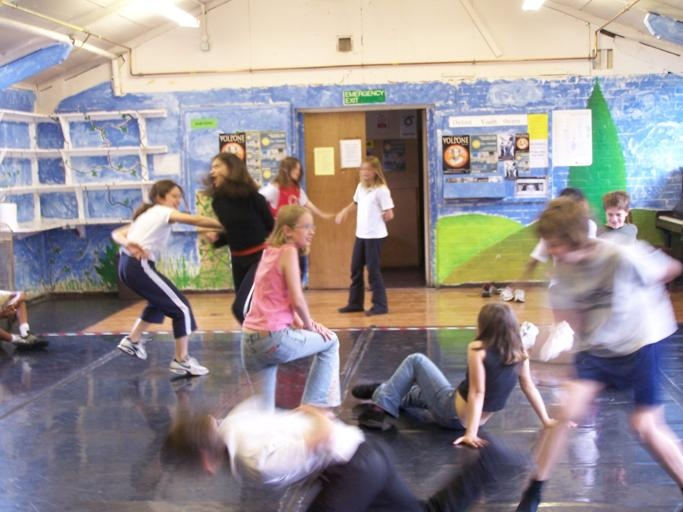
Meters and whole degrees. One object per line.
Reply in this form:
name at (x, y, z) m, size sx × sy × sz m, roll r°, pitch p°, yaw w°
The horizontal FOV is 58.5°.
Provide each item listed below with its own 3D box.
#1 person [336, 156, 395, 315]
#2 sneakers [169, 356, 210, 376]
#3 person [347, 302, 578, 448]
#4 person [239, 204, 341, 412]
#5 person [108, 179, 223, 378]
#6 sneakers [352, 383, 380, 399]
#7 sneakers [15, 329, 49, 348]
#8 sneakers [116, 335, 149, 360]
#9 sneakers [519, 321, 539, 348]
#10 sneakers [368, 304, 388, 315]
person at (0.319, -0.225, 7.068) m, size 0.552 × 1.814 × 0.302 m, roll 5°, pitch 9°, yaw 40°
sneakers at (-1.310, 0.975, 5.392) m, size 0.360 × 0.163 × 0.137 m, roll 3°, pitch 1°, yaw -8°
person at (0.697, 0.793, 4.278) m, size 1.478 × 0.848 × 0.873 m, roll -2°, pitch -7°, yaw 40°
person at (-0.354, 0.393, 3.982) m, size 0.518 × 1.435 × 0.724 m, roll 4°, pitch 9°, yaw 36°
person at (-1.515, 0.202, 5.210) m, size 0.658 × 1.706 × 1.191 m, roll -6°, pitch 9°, yaw -35°
sneakers at (0.179, 1.016, 4.586) m, size 0.129 × 0.072 × 0.164 m, roll -3°, pitch -14°, yaw -18°
sneakers at (-3.029, 0.846, 6.127) m, size 0.377 × 0.156 × 0.135 m, roll 1°, pitch 3°, yaw 2°
sneakers at (-1.943, 0.867, 5.720) m, size 0.318 × 0.144 × 0.122 m, roll 32°, pitch -1°, yaw -41°
sneakers at (1.560, 0.663, 5.068) m, size 0.103 × 0.282 × 0.284 m, roll 13°, pitch 16°, yaw 24°
sneakers at (0.431, 0.633, 7.145) m, size 0.258 × 0.167 × 0.097 m, roll 5°, pitch -7°, yaw -18°
